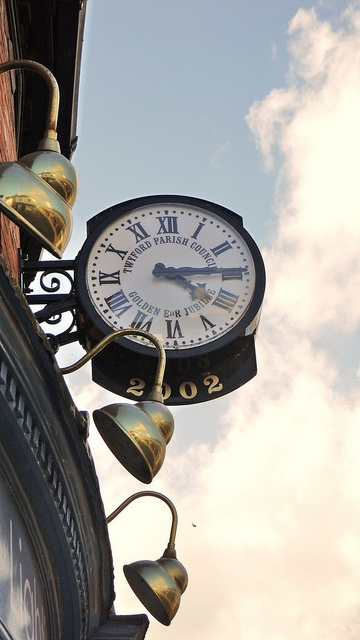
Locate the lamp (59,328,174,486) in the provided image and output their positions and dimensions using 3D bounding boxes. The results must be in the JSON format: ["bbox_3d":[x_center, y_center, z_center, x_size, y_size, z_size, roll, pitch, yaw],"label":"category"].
[{"bbox_3d":[-0.295,0.388,5.083,0.567,0.812,0.341,4,-23,-6],"label":"lamp"}]

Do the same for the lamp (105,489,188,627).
[{"bbox_3d":[-0.203,1.335,6.019,0.515,0.775,0.324,7,-32,-10],"label":"lamp"}]
